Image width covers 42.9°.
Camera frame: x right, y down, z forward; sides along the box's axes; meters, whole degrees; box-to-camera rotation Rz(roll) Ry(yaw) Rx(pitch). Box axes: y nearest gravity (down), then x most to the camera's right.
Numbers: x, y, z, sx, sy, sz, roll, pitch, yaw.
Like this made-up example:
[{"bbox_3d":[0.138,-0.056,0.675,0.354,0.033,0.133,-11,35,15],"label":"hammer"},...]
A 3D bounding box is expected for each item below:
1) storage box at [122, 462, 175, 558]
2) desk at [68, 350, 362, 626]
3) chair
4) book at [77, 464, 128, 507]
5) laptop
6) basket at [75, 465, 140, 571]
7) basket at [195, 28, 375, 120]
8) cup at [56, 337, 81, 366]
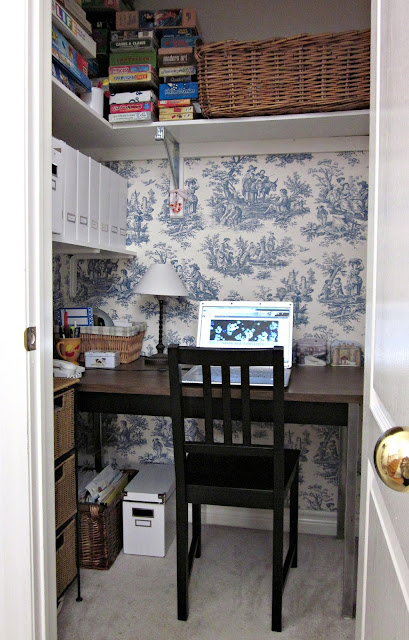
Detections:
[{"bbox_3d":[-0.190,0.734,1.960,0.153,0.212,0.292,2,-7,13],"label":"storage box"},{"bbox_3d":[0.088,0.450,1.814,1.104,0.824,0.626,1,5,11],"label":"desk"},{"bbox_3d":[0.102,0.459,1.601,0.379,0.817,0.561,1,3,8],"label":"chair"},{"bbox_3d":[-0.373,0.613,1.908,0.186,0.078,0.278,2,6,6],"label":"book"},{"bbox_3d":[0.141,0.172,1.866,0.368,0.419,0.259,5,-34,3],"label":"laptop"},{"bbox_3d":[-0.353,0.715,1.884,0.164,0.166,0.250,-1,-1,4],"label":"basket"},{"bbox_3d":[0.261,-0.790,1.810,0.473,0.202,0.321,-1,18,8],"label":"basket"},{"bbox_3d":[-0.477,0.108,1.833,0.096,0.103,0.066,-7,12,-42],"label":"cup"}]
